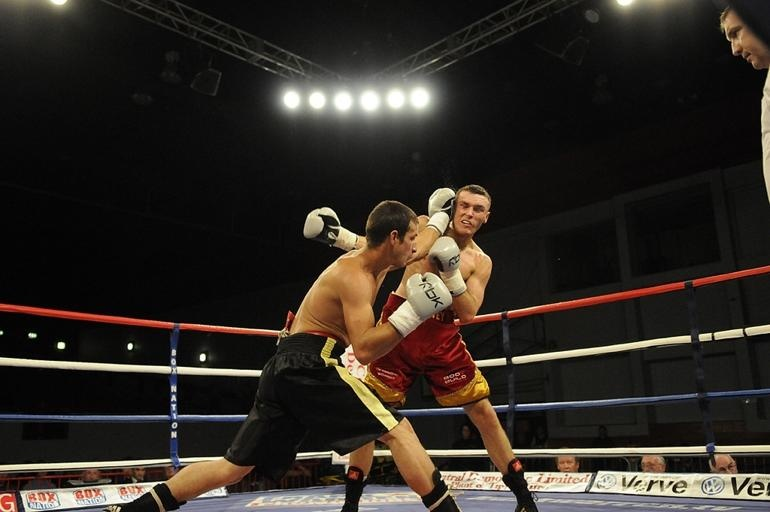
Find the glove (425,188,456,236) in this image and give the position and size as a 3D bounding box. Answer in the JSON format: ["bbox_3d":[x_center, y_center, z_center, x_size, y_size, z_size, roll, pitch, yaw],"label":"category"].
[{"bbox_3d":[0.435,-0.371,4.669,0.270,0.344,0.154,8,-12,-12],"label":"glove"}]

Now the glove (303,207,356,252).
[{"bbox_3d":[-0.417,-0.206,4.677,0.427,0.293,0.180,10,-35,-37],"label":"glove"}]

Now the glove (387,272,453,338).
[{"bbox_3d":[0.228,0.306,3.734,0.405,0.408,0.192,-43,3,-11],"label":"glove"}]

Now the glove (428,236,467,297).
[{"bbox_3d":[0.465,0.103,4.275,0.293,0.395,0.163,19,34,31],"label":"glove"}]
